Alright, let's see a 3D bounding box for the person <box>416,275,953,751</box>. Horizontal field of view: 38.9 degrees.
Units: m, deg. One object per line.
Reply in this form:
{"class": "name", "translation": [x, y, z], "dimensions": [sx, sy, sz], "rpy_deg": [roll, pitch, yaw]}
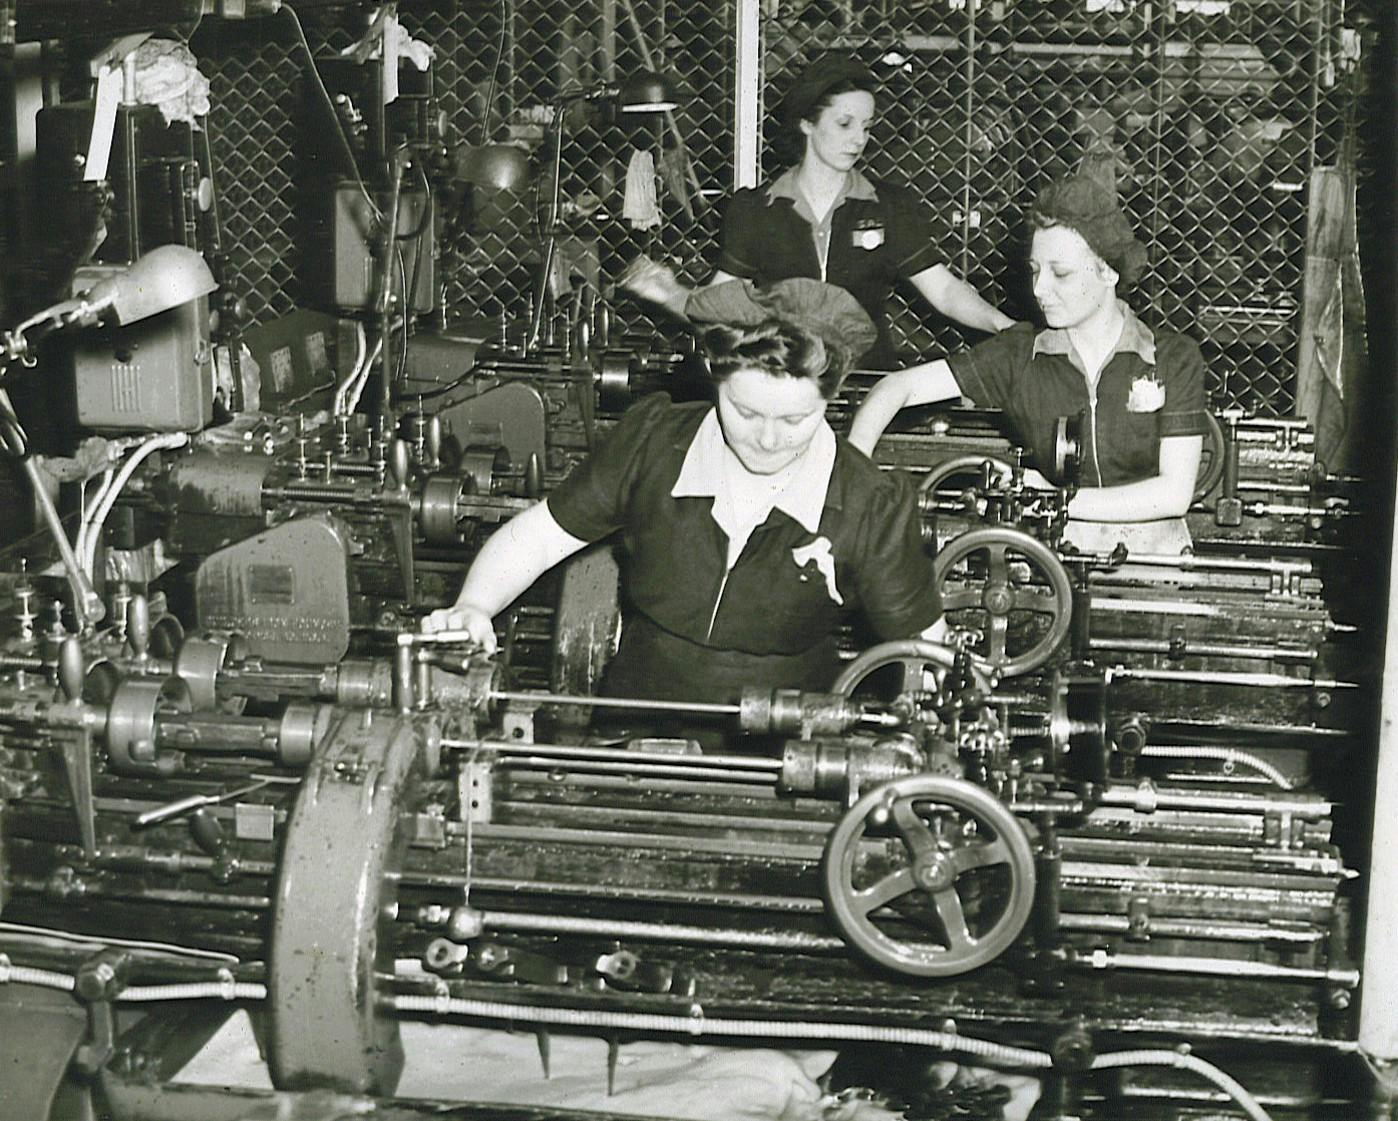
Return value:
{"class": "person", "translation": [0.038, -0.142, 4.449], "dimensions": [1.036, 1.008, 0.477], "rpy_deg": [4, 9, 7]}

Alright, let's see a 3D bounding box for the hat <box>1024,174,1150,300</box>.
{"class": "hat", "translation": [1.058, -0.888, 5.320], "dimensions": [0.102, 0.291, 0.228], "rpy_deg": [-44, 22, -28]}

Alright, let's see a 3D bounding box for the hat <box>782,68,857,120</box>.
{"class": "hat", "translation": [0.359, -1.471, 6.213], "dimensions": [0.153, 0.157, 0.309], "rpy_deg": [-4, 13, -36]}
